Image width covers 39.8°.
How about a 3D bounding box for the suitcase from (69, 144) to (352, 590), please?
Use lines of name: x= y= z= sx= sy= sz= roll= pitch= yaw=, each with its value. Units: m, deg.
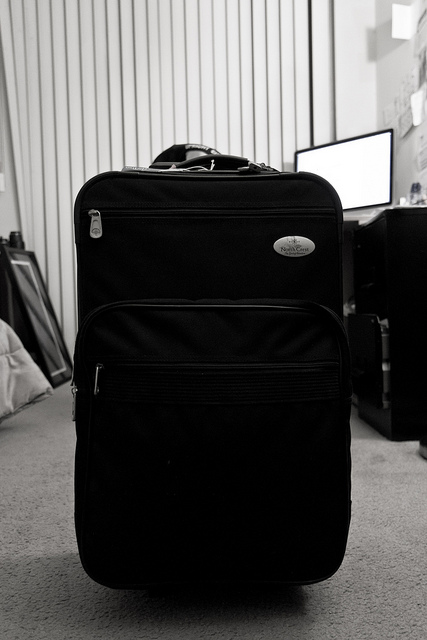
suitcase: x=0.009 y=0.060 z=0.808 sx=0.347 sy=0.585 sz=0.324 roll=1 pitch=-9 yaw=-4
